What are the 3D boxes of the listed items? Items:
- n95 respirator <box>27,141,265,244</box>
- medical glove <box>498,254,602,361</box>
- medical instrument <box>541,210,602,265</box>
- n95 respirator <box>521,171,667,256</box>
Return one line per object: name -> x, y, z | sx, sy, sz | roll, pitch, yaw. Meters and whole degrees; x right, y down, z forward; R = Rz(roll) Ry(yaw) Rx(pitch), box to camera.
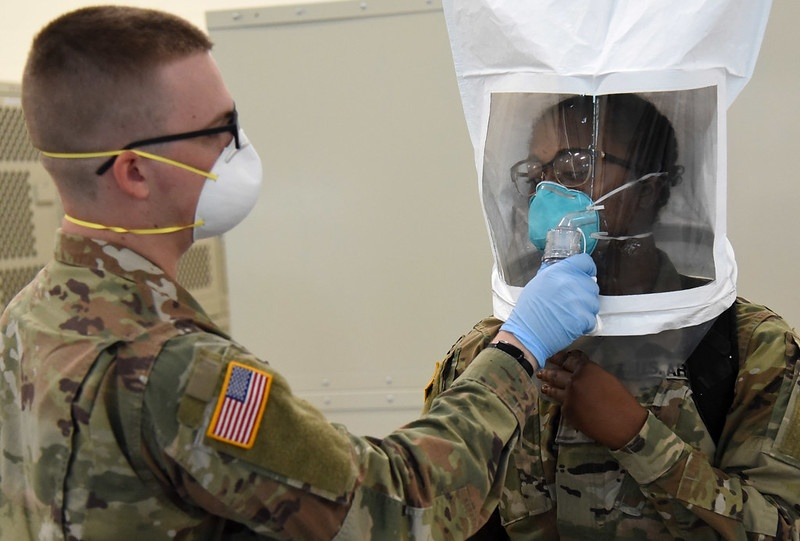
n95 respirator -> -0.625, -0.248, 2.799 | 0.418, 0.209, 0.329 | -1, 10, -17
medical glove -> 0.406, 0.080, 2.885 | 0.323, 0.315, 0.238 | -1, 36, -12
medical instrument -> 0.503, -0.092, 2.848 | 0.157, 0.158, 0.098 | 0, -6, 30
n95 respirator -> 0.588, -0.147, 2.959 | 0.420, 0.246, 0.331 | -2, -5, -5
